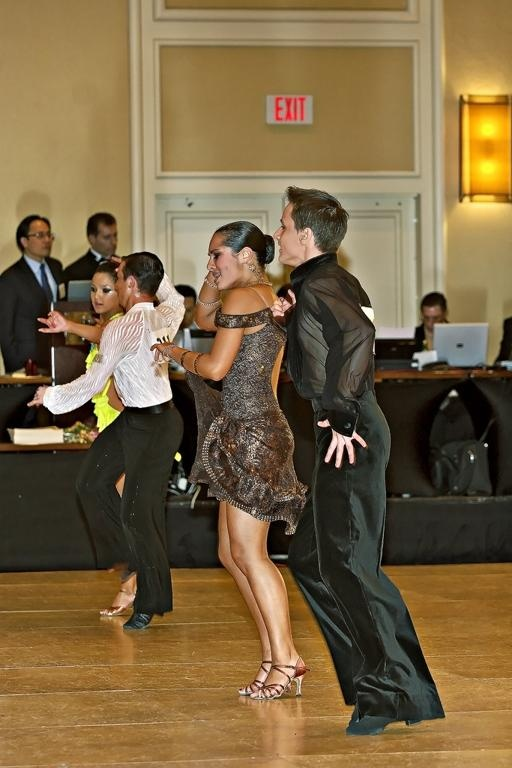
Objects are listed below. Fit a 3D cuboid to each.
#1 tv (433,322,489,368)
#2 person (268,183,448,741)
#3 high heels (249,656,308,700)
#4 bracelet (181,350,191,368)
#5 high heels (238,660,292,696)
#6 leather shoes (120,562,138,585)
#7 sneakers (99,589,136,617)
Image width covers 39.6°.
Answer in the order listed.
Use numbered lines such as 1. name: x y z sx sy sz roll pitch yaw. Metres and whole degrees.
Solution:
1. tv: 1.458 -0.282 5.318 0.470 0.387 0.334 1 5 0
2. person: 0.218 0.172 1.616 0.253 1.231 0.403 -6 11 -17
3. high heels: 0.052 0.817 1.987 0.174 0.079 0.098 -1 -1 -5
4. bracelet: -0.202 -0.071 1.998 0.013 0.041 0.046 3 7 6
5. high heels: 0.028 0.820 1.992 0.167 0.064 0.090 2 -6 -11
6. leather shoes: -0.551 0.841 3.126 0.098 0.039 0.127 3 -30 -15
7. sneakers: -0.605 1.001 3.260 0.076 0.076 0.211 -4 -3 44
